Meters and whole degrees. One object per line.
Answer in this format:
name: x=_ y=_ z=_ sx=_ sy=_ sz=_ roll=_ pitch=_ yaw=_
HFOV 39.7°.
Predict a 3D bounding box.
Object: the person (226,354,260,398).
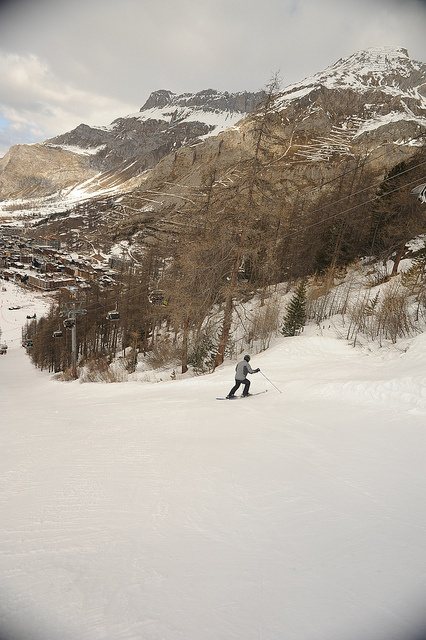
person: x=0.702 y=1.349 z=14.680 sx=0.692 sy=1.275 sz=1.360 roll=-1 pitch=12 yaw=1
